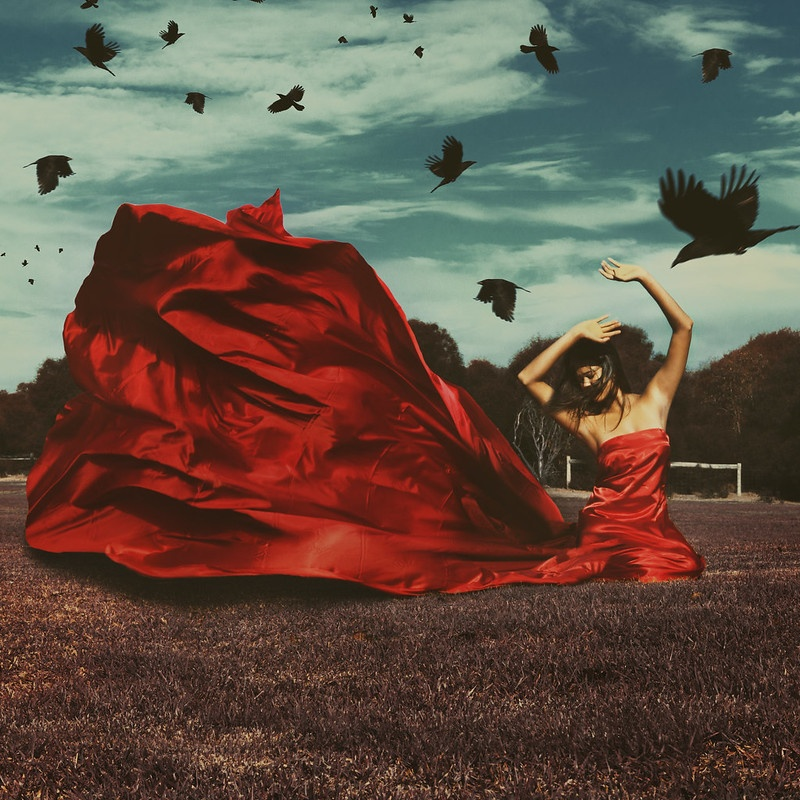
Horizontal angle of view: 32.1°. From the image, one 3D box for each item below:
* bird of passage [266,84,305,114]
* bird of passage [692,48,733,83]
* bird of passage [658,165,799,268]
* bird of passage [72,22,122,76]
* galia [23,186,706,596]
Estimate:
[{"bbox_3d":[-1.042,-2.798,12.868,0.304,0.211,0.763,-4,12,-5],"label":"bird of passage"},{"bbox_3d":[2.378,-2.541,10.508,0.189,0.242,0.787,0,13,13],"label":"bird of passage"},{"bbox_3d":[2.136,-1.269,9.464,0.734,0.639,0.217,-1,17,7],"label":"bird of passage"},{"bbox_3d":[-2.573,-3.020,11.857,0.280,0.385,0.760,-7,14,-11],"label":"bird of passage"},{"bbox_3d":[-0.084,0.160,10.027,4.689,1.578,2.867,-3,39,-1],"label":"galia"}]
